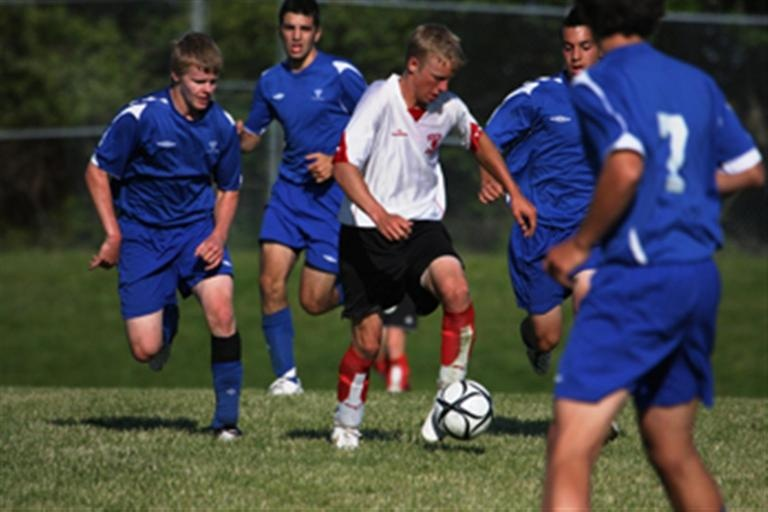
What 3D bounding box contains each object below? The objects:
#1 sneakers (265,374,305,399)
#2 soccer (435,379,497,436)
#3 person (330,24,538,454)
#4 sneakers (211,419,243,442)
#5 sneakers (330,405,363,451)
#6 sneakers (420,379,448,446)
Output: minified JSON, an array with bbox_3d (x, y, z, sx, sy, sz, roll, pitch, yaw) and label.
[{"bbox_3d":[-0.952,1.309,12.669,0.164,0.149,0.328,5,-1,42],"label":"sneakers"},{"bbox_3d":[0.694,1.378,11.055,0.532,0.549,0.534,-8,-11,43],"label":"soccer"},{"bbox_3d":[0.254,-0.143,10.914,1.360,3.593,1.024,1,7,-1],"label":"person"},{"bbox_3d":[-1.353,1.528,11.129,0.255,0.108,0.260,1,8,-6],"label":"sneakers"},{"bbox_3d":[-0.318,1.499,11.042,0.292,0.416,0.210,13,-5,-29],"label":"sneakers"},{"bbox_3d":[0.395,1.411,11.058,0.125,0.470,0.261,8,16,-13],"label":"sneakers"}]
